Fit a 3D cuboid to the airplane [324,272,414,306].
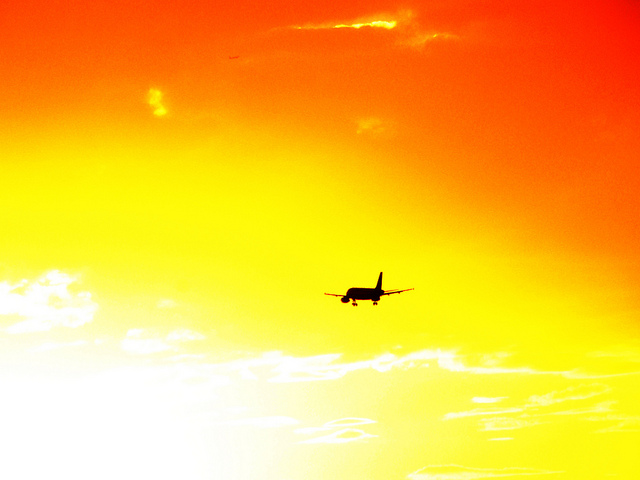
[{"bbox_3d":[1.991,2.389,48.148,3.104,1.550,4.164,5,-22,-31],"label":"airplane"}]
